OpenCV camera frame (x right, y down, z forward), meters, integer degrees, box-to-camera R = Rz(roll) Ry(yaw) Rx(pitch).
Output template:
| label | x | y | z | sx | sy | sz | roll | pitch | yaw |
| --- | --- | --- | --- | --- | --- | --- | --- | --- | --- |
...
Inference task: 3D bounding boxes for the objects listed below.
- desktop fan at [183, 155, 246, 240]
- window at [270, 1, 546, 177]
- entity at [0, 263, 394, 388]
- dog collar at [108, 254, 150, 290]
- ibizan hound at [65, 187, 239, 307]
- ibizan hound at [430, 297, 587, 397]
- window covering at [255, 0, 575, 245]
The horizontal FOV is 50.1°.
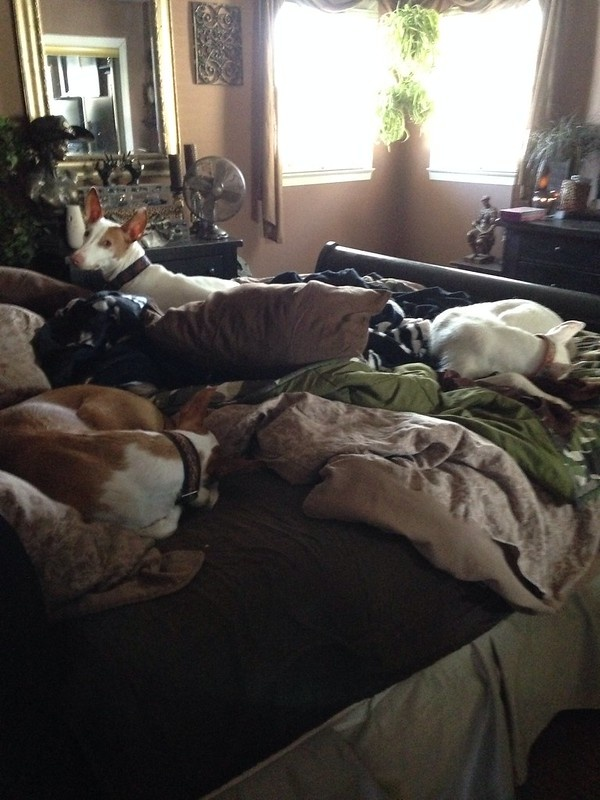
| label | x | y | z | sx | sy | sz | roll | pitch | yaw |
| --- | --- | --- | --- | --- | --- | --- | --- | --- | --- |
| desktop fan | -0.547 | -1.223 | 3.889 | 0.372 | 0.436 | 0.291 | -7 | 24 | -31 |
| window | 0.794 | -2.331 | 4.717 | 1.868 | 1.231 | 0.091 | -7 | 34 | -14 |
| entity | -0.290 | -0.195 | 1.756 | 0.888 | 0.220 | 0.454 | 4 | -11 | 8 |
| dog collar | -0.667 | -0.500 | 2.596 | 0.146 | 0.033 | 0.131 | -41 | 10 | -27 |
| ibizan hound | -0.604 | -0.565 | 2.857 | 0.329 | 0.561 | 0.869 | 29 | 27 | 35 |
| ibizan hound | 0.557 | -0.148 | 1.793 | 0.297 | 0.150 | 0.367 | 5 | 16 | 6 |
| window covering | 0.819 | -2.068 | 4.653 | 2.330 | 1.985 | 0.513 | -9 | 38 | -15 |
